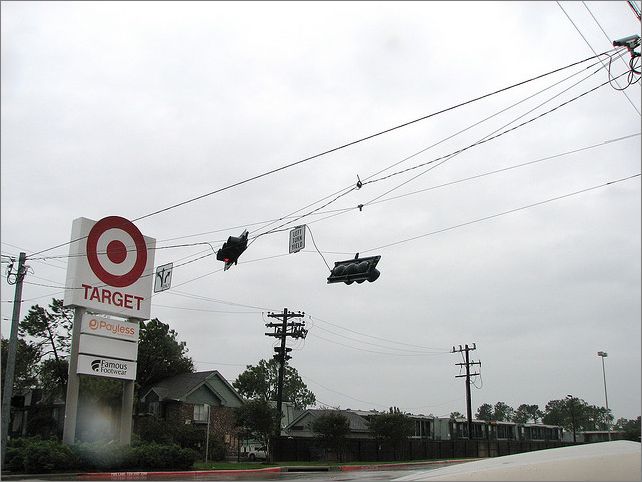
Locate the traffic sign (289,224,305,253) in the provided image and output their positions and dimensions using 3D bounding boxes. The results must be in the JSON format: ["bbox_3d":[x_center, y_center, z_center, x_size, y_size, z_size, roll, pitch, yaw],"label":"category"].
[{"bbox_3d":[-0.856,-0.056,23.556,0.916,1.307,0.145,-9,-14,40],"label":"traffic sign"}]

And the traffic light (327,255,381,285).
[{"bbox_3d":[1.221,1.148,24.072,1.839,1.095,0.425,-14,-23,32],"label":"traffic light"}]

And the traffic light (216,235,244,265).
[{"bbox_3d":[-3.450,0.443,24.921,1.015,1.272,1.336,5,-20,-16],"label":"traffic light"}]
